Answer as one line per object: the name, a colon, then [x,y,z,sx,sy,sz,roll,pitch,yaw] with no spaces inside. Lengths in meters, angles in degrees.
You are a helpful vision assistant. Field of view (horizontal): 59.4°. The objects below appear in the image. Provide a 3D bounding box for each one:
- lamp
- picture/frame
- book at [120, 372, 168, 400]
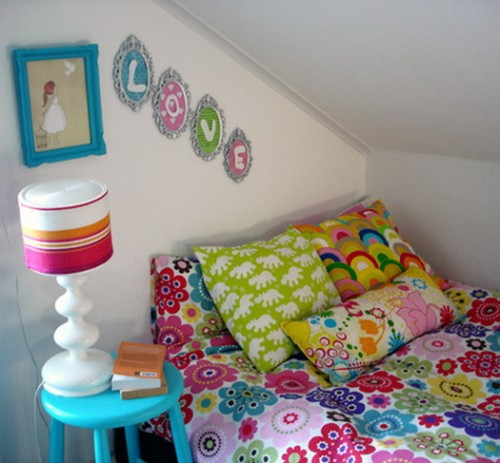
lamp: [-0.509,0.162,1.269,0.239,0.610,0.232,-1,13,5]
picture/frame: [-0.631,-0.414,1.418,0.051,0.417,0.400,21,33,39]
book: [-0.315,0.450,1.269,0.089,0.019,0.088,0,8,4]
